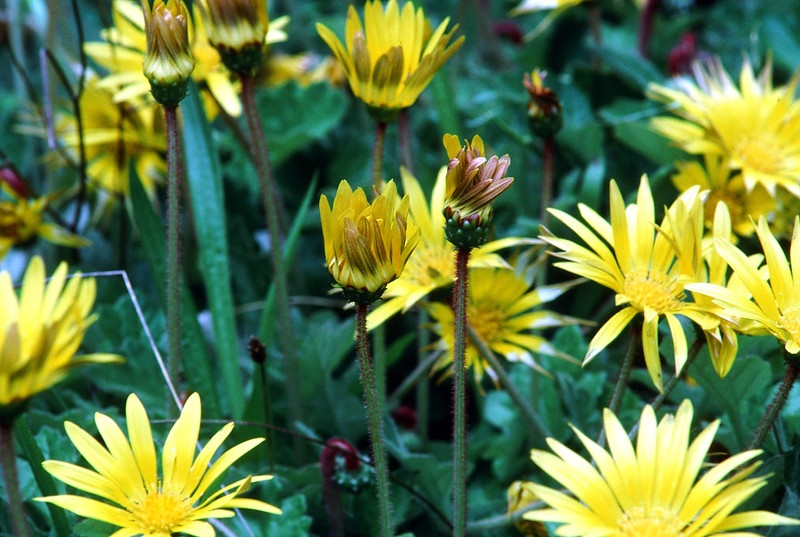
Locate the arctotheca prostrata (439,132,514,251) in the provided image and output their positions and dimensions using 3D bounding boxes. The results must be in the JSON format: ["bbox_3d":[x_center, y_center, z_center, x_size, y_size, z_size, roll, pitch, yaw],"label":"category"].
[{"bbox_3d":[0.067,-0.061,0.730,0.058,0.068,0.059,1,42,6],"label":"arctotheca prostrata"}]

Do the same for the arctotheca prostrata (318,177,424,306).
[{"bbox_3d":[-0.029,-0.022,0.778,0.084,0.138,0.100,2,2,24],"label":"arctotheca prostrata"}]

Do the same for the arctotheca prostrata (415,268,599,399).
[{"bbox_3d":[0.113,0.041,0.928,0.125,0.159,0.039,-24,2,15],"label":"arctotheca prostrata"}]

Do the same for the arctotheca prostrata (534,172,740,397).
[{"bbox_3d":[0.228,-0.005,0.808,0.174,0.217,0.071,-15,-11,-7],"label":"arctotheca prostrata"}]

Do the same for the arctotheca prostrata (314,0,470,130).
[{"bbox_3d":[-0.009,-0.215,0.841,0.138,0.095,0.086,-3,41,2],"label":"arctotheca prostrata"}]
